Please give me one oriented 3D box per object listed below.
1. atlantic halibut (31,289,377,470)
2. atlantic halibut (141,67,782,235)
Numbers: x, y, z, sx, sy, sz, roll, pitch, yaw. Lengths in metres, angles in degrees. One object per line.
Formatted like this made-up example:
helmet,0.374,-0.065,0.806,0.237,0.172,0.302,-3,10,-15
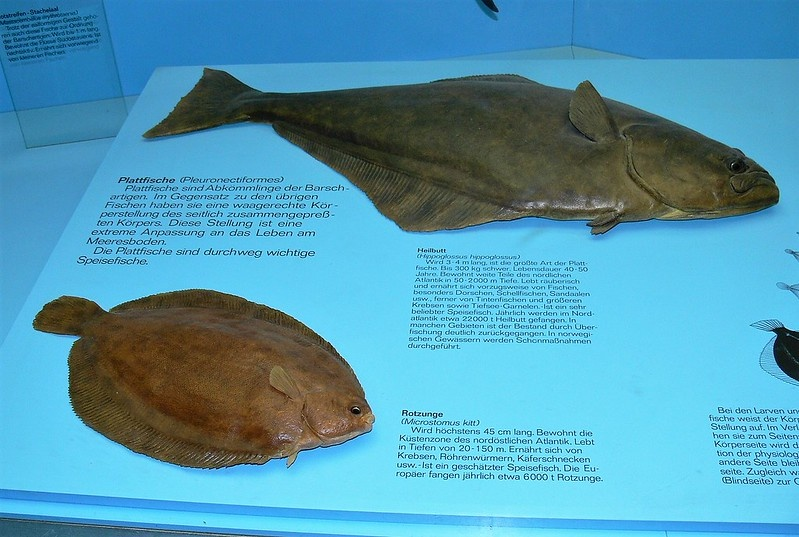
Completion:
atlantic halibut,-0.777,0.459,3.195,1.291,0.185,0.688,12,52,9
atlantic halibut,0.236,-0.446,3.881,3.307,0.478,1.137,2,26,5
